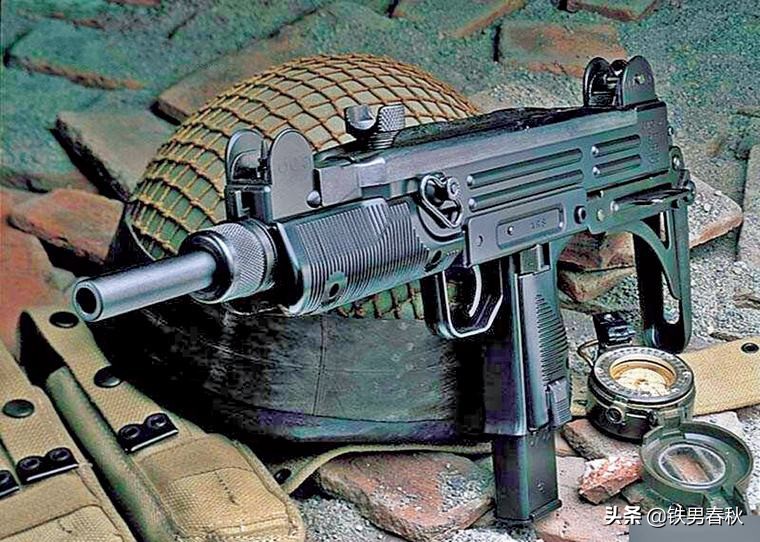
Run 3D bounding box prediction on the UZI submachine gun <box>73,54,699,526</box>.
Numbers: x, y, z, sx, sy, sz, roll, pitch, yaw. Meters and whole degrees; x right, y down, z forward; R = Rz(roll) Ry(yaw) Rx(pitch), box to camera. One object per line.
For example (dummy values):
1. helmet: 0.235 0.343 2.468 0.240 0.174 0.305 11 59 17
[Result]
1. UZI submachine gun: 0.117 0.079 1.728 1.419 0.997 0.670 -11 17 -17
